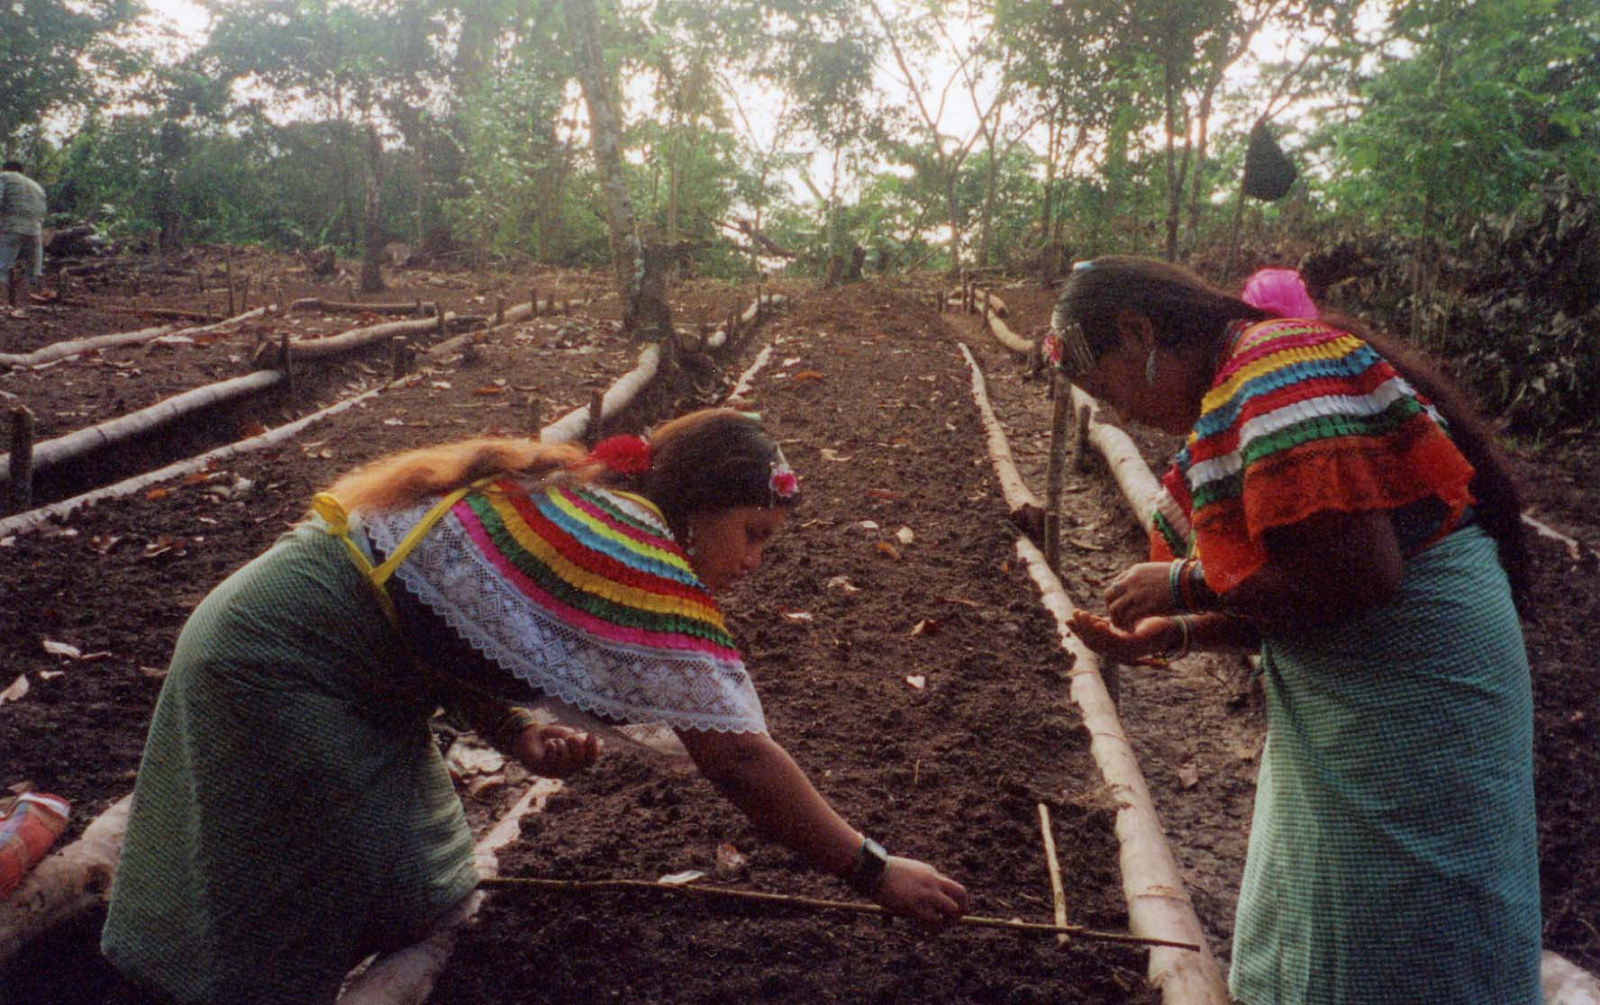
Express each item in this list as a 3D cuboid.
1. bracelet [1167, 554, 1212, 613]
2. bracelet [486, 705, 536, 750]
[{"bbox_3d":[1.414,0.306,4.324,0.147,0.101,0.175,-4,-16,9],"label":"bracelet"},{"bbox_3d":[-1.122,0.898,4.675,0.158,0.153,0.160,-3,-11,9],"label":"bracelet"}]
